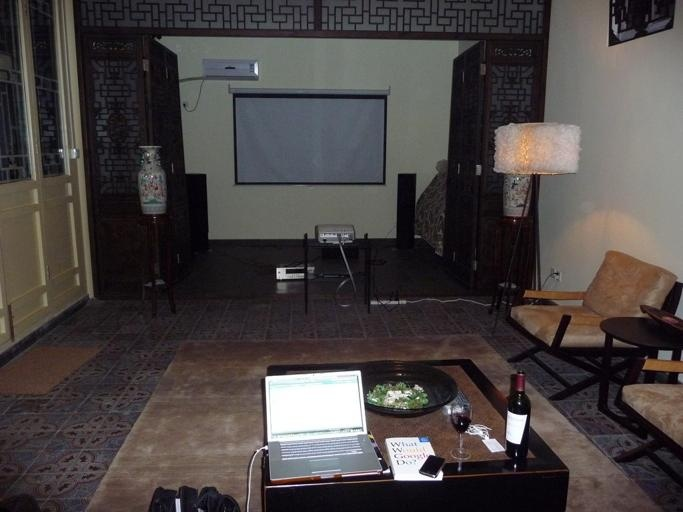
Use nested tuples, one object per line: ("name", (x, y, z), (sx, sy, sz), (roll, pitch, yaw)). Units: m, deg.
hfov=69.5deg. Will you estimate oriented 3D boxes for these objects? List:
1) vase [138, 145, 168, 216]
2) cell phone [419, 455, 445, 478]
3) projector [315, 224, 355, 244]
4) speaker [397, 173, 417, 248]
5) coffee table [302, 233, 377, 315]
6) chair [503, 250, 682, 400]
("vase", (-1.969, -0.777, 5.096), (0.257, 0.698, 0.181), (-8, 16, -22))
("cell phone", (0.384, 0.887, 2.074), (0.080, 0.039, 0.123), (7, 17, 27))
("projector", (-0.065, -0.238, 5.251), (0.398, 0.182, 0.226), (-3, 15, -7))
("speaker", (1.075, -0.740, 8.195), (0.291, 1.220, 0.292), (0, 15, 5))
("coffee table", (-0.007, 0.071, 5.843), (1.071, 1.039, 0.876), (0, 32, 0))
("chair", (1.972, 0.479, 4.023), (1.173, 1.099, 0.896), (0, 12, -1))
